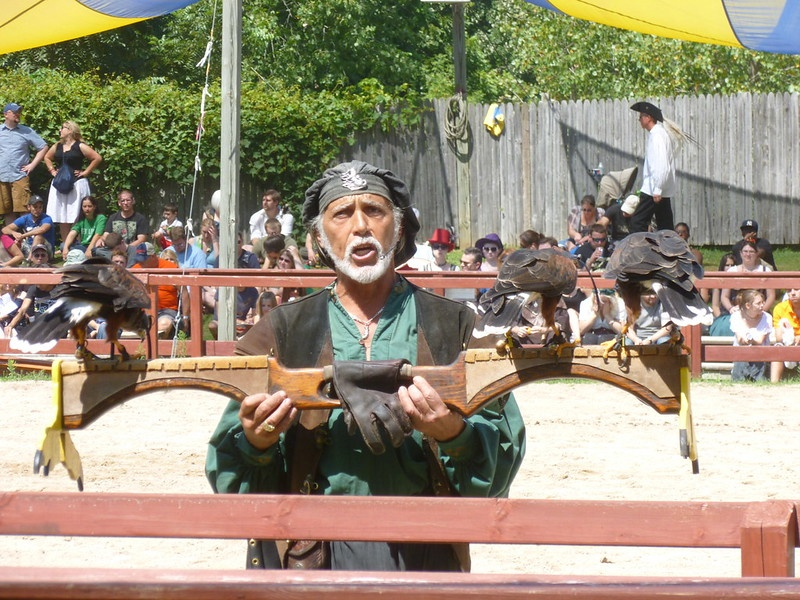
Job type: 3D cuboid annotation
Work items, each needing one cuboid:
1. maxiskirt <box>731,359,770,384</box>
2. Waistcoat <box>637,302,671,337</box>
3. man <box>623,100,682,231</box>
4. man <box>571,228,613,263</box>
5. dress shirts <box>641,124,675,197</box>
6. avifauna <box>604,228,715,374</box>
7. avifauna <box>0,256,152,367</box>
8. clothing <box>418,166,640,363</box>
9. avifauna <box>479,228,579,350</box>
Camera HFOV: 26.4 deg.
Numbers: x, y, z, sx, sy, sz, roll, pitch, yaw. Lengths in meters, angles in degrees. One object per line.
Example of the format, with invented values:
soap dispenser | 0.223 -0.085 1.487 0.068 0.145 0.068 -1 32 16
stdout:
maxiskirt | 4.555 0.934 22.404 0.265 0.144 0.368 1 -32 4
Waistcoat | 2.948 0.216 19.826 0.441 0.409 0.248 -3 -6 31
man | 3.700 -1.748 24.797 0.920 2.197 0.750 -3 16 -9
man | 2.685 -0.759 23.810 0.619 0.523 0.335 -3 8 -15
dress shirts | 3.760 -2.020 24.876 0.474 1.011 1.176 1 7 15
avifauna | 2.478 -0.178 16.981 0.812 0.974 1.549 -4 4 -27
avifauna | -2.923 0.068 16.268 0.725 1.003 1.633 10 -9 37
clothing | 1.120 -0.046 16.613 1.634 1.037 0.795 7 -6 -24
avifauna | 1.216 -0.059 16.540 0.709 1.021 1.621 -5 -9 38
